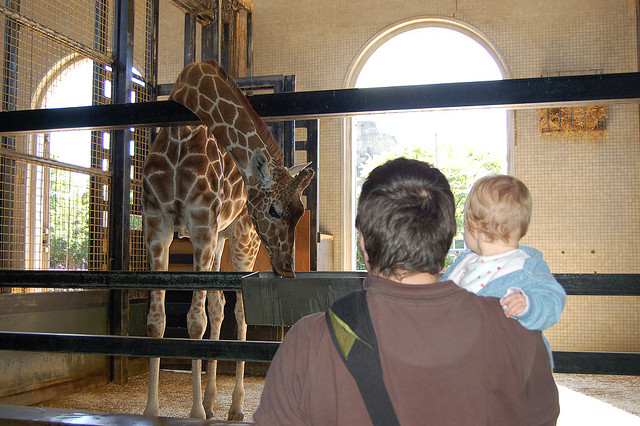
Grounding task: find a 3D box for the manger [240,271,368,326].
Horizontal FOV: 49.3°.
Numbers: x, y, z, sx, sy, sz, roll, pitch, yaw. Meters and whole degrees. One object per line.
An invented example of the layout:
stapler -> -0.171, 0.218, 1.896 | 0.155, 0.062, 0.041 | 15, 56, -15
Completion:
manger -> -0.146, 0.497, 4.252 | 0.569, 0.236, 0.381 | 1, -4, -6
